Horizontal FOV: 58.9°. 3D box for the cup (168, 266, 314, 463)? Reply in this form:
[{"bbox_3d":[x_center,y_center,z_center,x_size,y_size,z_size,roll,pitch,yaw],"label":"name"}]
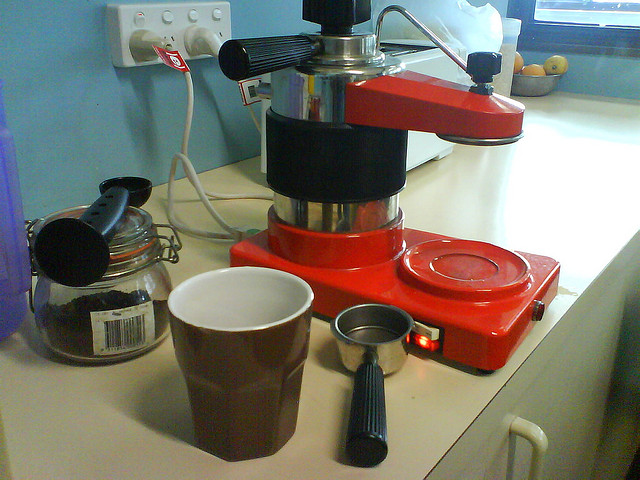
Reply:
[{"bbox_3d":[-0.072,0.109,0.566,0.138,0.161,0.158,-2,19,-15],"label":"cup"}]

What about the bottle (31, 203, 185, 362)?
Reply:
[{"bbox_3d":[-0.243,0.038,0.638,0.132,0.153,0.162,2,29,-13],"label":"bottle"}]

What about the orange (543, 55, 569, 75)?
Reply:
[{"bbox_3d":[0.699,-0.514,1.676,0.061,0.061,0.074,0,24,-12],"label":"orange"}]

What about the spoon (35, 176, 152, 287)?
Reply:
[{"bbox_3d":[-0.202,-0.011,0.605,0.073,0.076,0.195,1,20,9],"label":"spoon"}]
